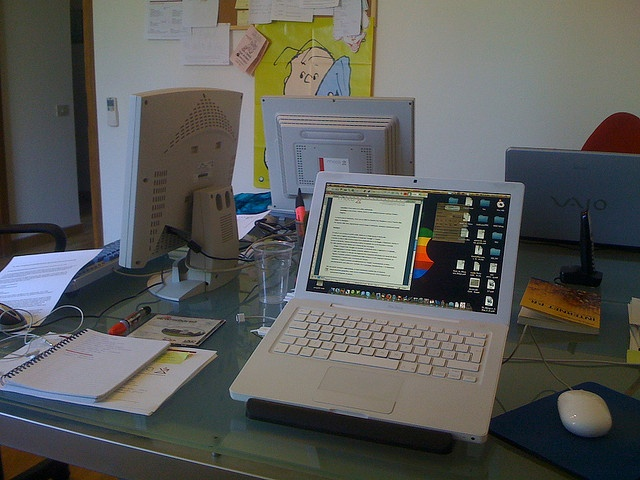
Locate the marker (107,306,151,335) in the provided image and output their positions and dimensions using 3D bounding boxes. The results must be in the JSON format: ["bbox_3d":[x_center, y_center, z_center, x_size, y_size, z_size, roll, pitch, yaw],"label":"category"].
[{"bbox_3d":[-0.442,0.187,1.175,0.026,0.027,0.130,2,10,17],"label":"marker"}]

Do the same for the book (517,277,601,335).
[{"bbox_3d":[0.609,0.167,1.251,0.192,0.039,0.199,7,25,12],"label":"book"}]

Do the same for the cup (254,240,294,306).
[{"bbox_3d":[-0.126,0.087,1.326,0.117,0.148,0.122,0,5,0],"label":"cup"}]

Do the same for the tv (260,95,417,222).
[{"bbox_3d":[0.059,-0.261,1.508,0.454,0.369,0.098,6,27,16],"label":"tv"}]

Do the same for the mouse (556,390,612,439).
[{"bbox_3d":[0.476,0.302,0.899,0.083,0.036,0.114,-4,21,12],"label":"mouse"}]

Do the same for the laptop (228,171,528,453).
[{"bbox_3d":[0.130,0.103,0.979,0.544,0.290,0.583,11,23,35],"label":"laptop"}]
